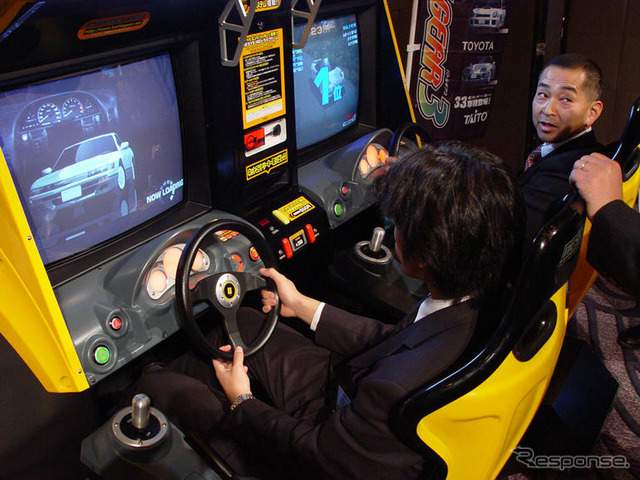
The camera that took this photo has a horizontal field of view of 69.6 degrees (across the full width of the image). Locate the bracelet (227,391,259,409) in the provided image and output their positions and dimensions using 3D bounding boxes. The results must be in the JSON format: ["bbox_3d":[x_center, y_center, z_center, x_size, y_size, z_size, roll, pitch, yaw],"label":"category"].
[{"bbox_3d":[-0.265,0.536,1.542,0.061,0.027,0.072,-36,-15,38],"label":"bracelet"}]
